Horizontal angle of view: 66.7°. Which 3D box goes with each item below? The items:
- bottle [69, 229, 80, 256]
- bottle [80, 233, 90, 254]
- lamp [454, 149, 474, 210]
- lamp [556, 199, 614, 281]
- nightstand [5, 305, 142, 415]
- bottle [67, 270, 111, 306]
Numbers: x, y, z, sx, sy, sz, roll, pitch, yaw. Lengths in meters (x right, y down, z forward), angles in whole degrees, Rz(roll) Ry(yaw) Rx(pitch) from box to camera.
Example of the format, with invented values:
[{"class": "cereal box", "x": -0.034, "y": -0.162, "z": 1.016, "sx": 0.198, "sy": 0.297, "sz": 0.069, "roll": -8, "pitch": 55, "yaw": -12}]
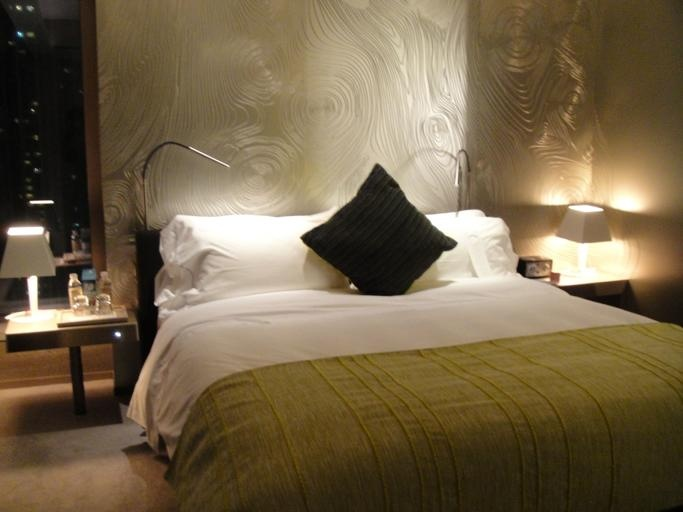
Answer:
[{"class": "bottle", "x": -1.699, "y": -0.096, "z": 3.332, "sx": 0.057, "sy": 0.172, "sz": 0.015, "roll": -4, "pitch": 2, "yaw": -6}, {"class": "bottle", "x": -1.644, "y": -0.094, "z": 3.349, "sx": 0.058, "sy": 0.151, "sz": 0.018, "roll": -5, "pitch": 2, "yaw": -21}, {"class": "lamp", "x": 0.919, "y": -0.612, "z": 3.934, "sx": 0.083, "sy": 0.421, "sz": 0.178, "roll": -21, "pitch": 20, "yaw": -26}, {"class": "lamp", "x": 1.881, "y": -0.120, "z": 4.082, "sx": 0.365, "sy": 0.493, "sz": 0.367, "roll": 2, "pitch": 14, "yaw": 14}, {"class": "nightstand", "x": -1.601, "y": 0.616, "z": 3.092, "sx": 0.545, "sy": 0.471, "sz": 0.299, "roll": -4, "pitch": 15, "yaw": -20}, {"class": "bottle", "x": -1.474, "y": 0.187, "z": 3.053, "sx": 0.206, "sy": 0.201, "sz": 0.074, "roll": -1, "pitch": 15, "yaw": -13}]
